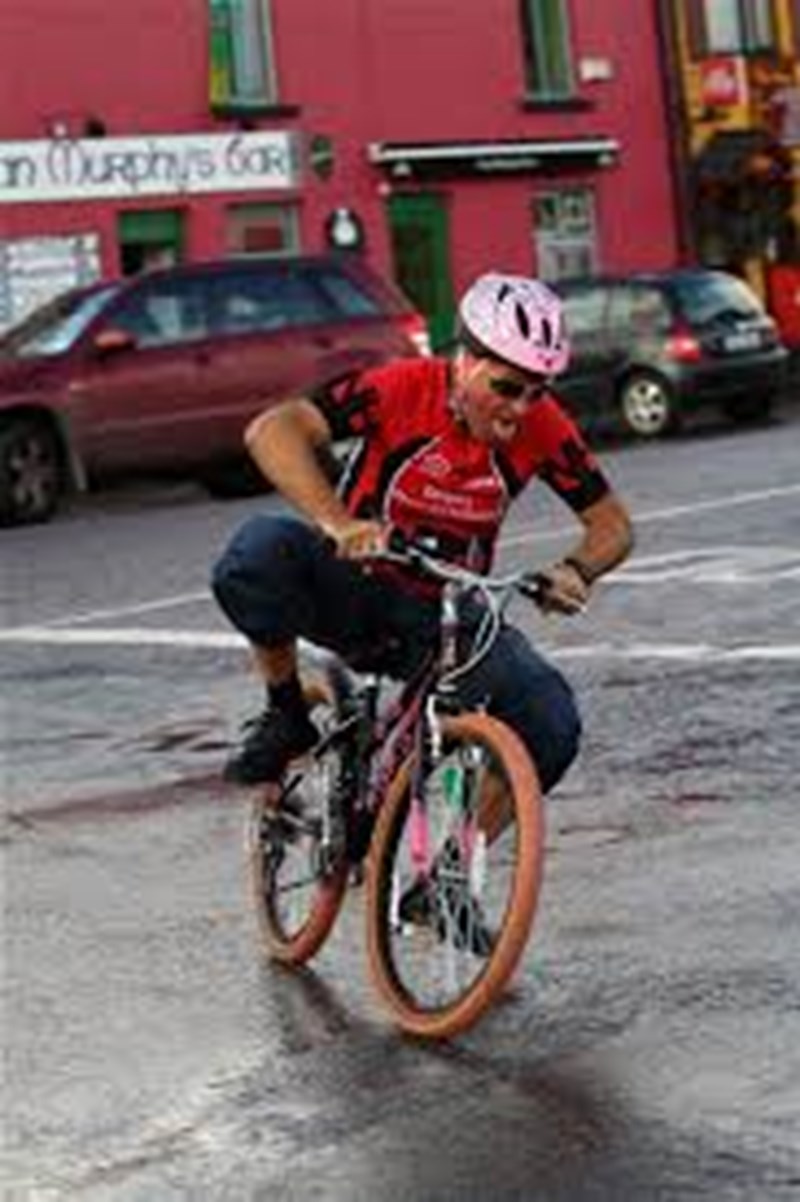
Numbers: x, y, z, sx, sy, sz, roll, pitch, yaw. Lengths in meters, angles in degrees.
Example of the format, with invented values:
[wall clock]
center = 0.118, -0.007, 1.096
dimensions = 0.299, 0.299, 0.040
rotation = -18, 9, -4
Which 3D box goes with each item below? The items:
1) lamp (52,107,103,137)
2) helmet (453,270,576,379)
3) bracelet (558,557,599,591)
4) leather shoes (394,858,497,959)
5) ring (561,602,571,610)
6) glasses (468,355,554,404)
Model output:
[lamp]
center = -6.129, -9.062, 20.864
dimensions = 0.540, 0.357, 0.830
rotation = -2, 9, -26
[helmet]
center = 0.241, -0.597, 2.400
dimensions = 0.209, 0.196, 0.260
rotation = 1, 8, -30
[bracelet]
center = 0.413, -0.067, 2.528
dimensions = 0.056, 0.057, 0.057
rotation = 44, 8, -40
[leather shoes]
center = 0.093, 0.637, 2.346
dimensions = 0.127, 0.139, 0.287
rotation = -4, 9, -31
[ring]
center = 0.358, 0.011, 2.342
dimensions = 0.018, 0.004, 0.017
rotation = 24, -16, 7
[glasses]
center = 0.230, -0.481, 2.341
dimensions = 0.124, 0.042, 0.116
rotation = 21, 3, 41
